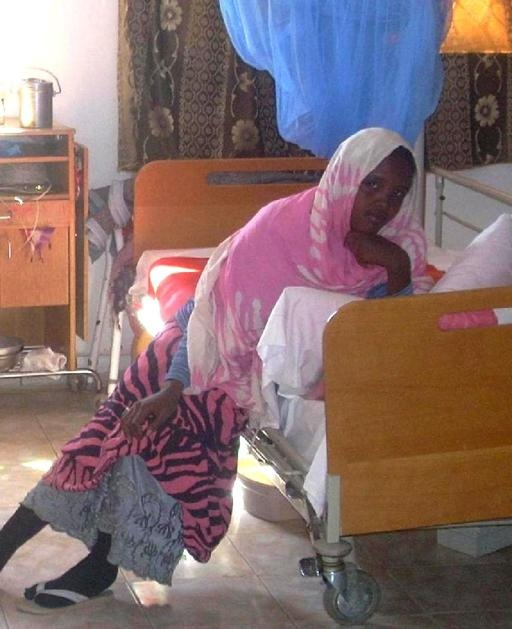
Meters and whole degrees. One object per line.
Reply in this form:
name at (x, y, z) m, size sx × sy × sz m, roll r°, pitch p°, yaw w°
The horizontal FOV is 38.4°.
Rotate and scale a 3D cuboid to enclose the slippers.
slippers at (-0.425, 0.617, 1.627) m, size 0.146 × 0.024 × 0.069 m, roll 0°, pitch 9°, yaw -17°
